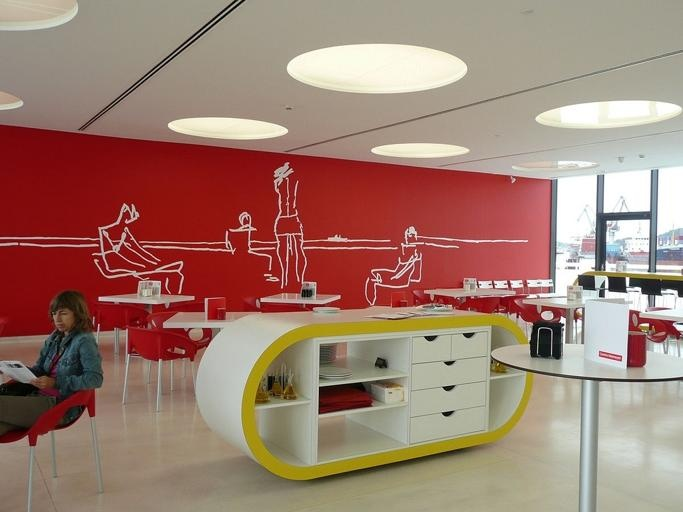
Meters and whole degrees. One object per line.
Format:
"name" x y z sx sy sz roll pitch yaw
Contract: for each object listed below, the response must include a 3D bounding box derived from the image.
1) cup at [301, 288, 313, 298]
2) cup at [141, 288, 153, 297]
"cup" -0.555 0.590 8.020 0.246 0.146 0.118 0 -2 9
"cup" -3.015 0.559 7.816 0.124 0.134 0.214 -2 -3 27
